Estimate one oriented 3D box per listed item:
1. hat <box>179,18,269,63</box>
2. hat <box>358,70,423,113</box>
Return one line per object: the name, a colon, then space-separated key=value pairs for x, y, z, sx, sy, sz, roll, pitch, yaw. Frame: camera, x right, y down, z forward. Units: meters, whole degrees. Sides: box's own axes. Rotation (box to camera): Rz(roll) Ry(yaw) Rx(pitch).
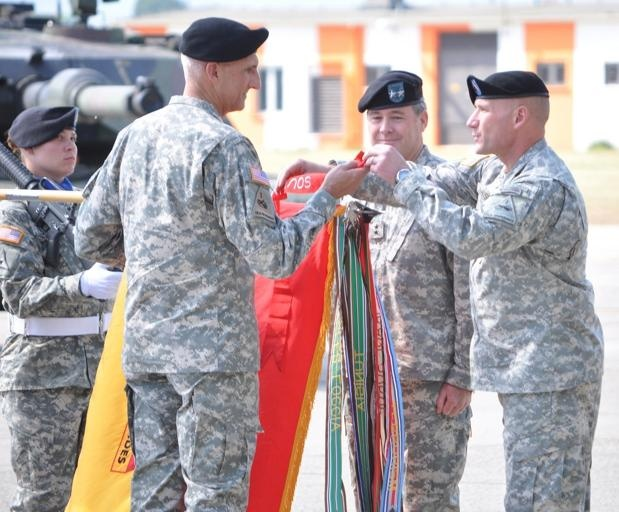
hat: x=-0.458 y=-1.094 z=8.296 sx=0.333 sy=0.123 sz=0.252 roll=-10 pitch=26 yaw=-10
hat: x=0.434 y=-0.916 z=9.195 sx=0.286 sy=0.145 sz=0.229 roll=-12 pitch=7 yaw=11
